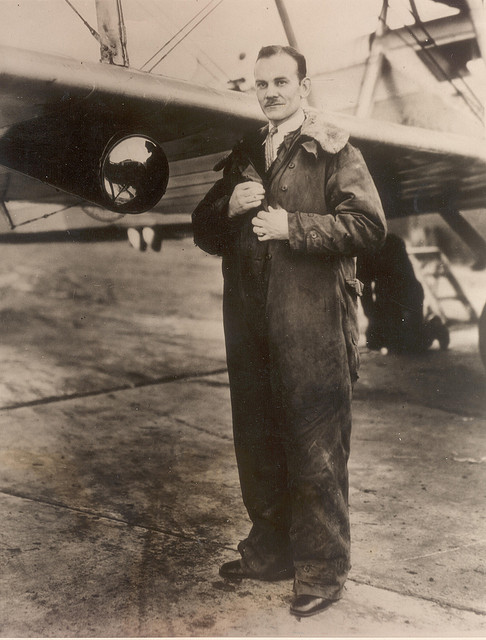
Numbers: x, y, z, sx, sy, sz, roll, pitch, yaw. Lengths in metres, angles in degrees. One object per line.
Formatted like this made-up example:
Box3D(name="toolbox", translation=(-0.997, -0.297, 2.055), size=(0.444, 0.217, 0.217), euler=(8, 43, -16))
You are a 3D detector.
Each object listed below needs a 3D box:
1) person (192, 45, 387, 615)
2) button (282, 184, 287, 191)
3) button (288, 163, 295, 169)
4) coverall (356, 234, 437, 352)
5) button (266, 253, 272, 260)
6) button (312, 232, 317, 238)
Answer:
Box3D(name="person", translation=(0.174, 0.021, 3.065), size=(0.362, 2.090, 0.626), euler=(-6, 9, -41))
Box3D(name="button", translation=(0.153, -0.483, 2.926), size=(0.017, 0.016, 0.005), euler=(12, 10, 13))
Box3D(name="button", translation=(0.178, -0.560, 2.927), size=(0.021, 0.020, 0.003), euler=(3, 7, 15))
Box3D(name="coverall", translation=(0.609, -0.089, 3.233), size=(0.343, 0.462, 0.115), euler=(-6, 19, 20))
Box3D(name="button", translation=(0.098, -0.232, 2.943), size=(0.017, 0.016, 0.005), euler=(-3, -7, 43))
Box3D(name="button", translation=(0.253, -0.300, 2.839), size=(0.018, 0.016, 0.007), euler=(-2, -8, 2))
